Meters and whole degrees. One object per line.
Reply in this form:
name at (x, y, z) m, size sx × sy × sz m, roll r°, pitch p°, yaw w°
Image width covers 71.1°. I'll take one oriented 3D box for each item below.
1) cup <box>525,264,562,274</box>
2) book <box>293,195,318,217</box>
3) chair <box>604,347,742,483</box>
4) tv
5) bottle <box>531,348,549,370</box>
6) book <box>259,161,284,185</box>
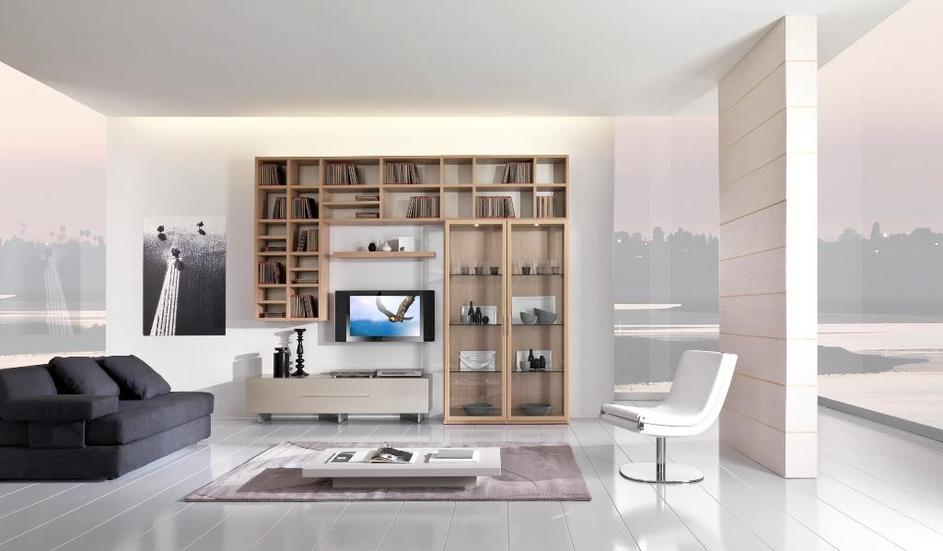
cup at (1.033, -0.097, 9.350) m, size 0.540 × 0.131 × 0.065 m, roll -1°, pitch 11°, yaw -2°
book at (-2.352, -0.988, 9.627) m, size 0.327 × 0.334 × 0.384 m, roll -2°, pitch 0°, yaw 5°
chair at (2.262, 1.631, 7.631) m, size 1.576 × 1.247 × 1.127 m, roll -3°, pitch -6°, yaw -7°
tv at (-1.230, 0.580, 9.611) m, size 1.662 × 0.775 × 0.127 m, roll 4°, pitch -6°, yaw -40°
bottle at (0.963, 1.199, 9.318) m, size 0.363 × 0.310 × 0.135 m, roll 1°, pitch -7°, yaw -4°
book at (-2.868, -1.495, 9.466) m, size 0.428 × 0.156 × 0.510 m, roll 0°, pitch 0°, yaw -17°
